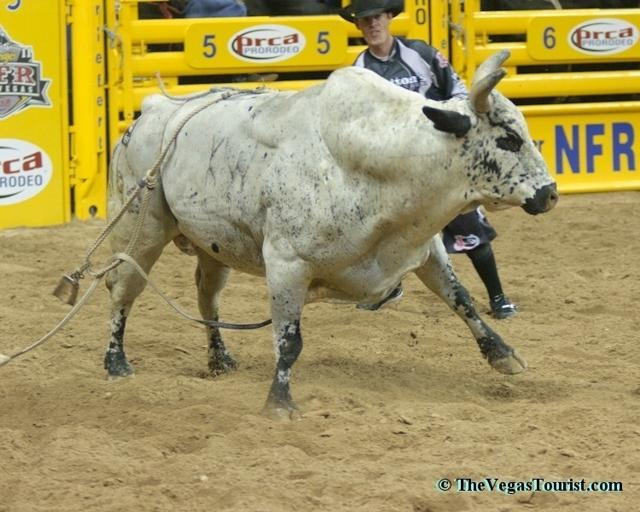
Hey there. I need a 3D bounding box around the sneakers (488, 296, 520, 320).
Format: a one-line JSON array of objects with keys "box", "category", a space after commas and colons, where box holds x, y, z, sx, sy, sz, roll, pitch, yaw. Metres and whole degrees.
[{"box": [1.387, 0.375, 8.602, 0.246, 0.126, 0.156, -4, 3, 37], "category": "sneakers"}]

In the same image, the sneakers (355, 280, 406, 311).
[{"box": [0.448, 0.305, 8.407, 0.370, 0.101, 0.271, -14, -11, 36], "category": "sneakers"}]

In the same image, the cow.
[{"box": [0.172, -0.127, 7.242, 1.308, 1.981, 3.738, -12, 12, -43], "category": "cow"}]
